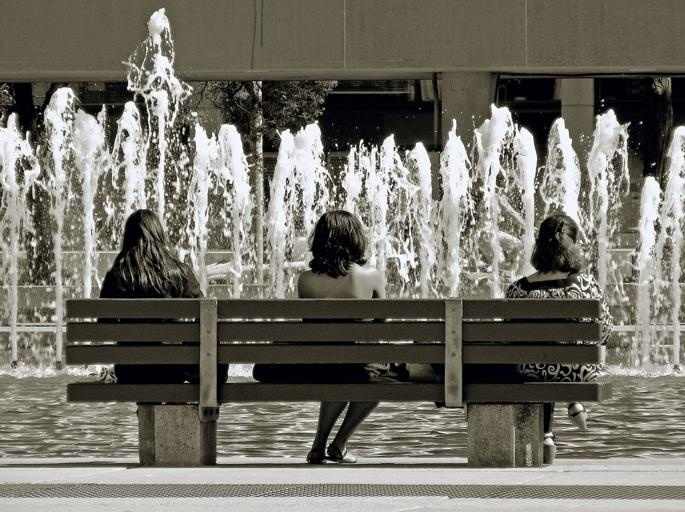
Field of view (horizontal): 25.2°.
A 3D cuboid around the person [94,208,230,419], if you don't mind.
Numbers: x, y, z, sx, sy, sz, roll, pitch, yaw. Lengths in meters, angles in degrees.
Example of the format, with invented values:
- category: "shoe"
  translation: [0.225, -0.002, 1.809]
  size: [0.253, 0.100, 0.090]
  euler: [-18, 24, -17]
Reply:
- category: "person"
  translation: [-1.550, 0.086, 13.208]
  size: [0.865, 1.191, 0.802]
  euler: [-4, 32, -4]

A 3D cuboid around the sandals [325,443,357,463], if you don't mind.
- category: "sandals"
  translation: [-0.010, 1.659, 12.873]
  size: [0.249, 0.102, 0.133]
  euler: [2, 4, -24]

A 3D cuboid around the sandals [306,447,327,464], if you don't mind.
- category: "sandals"
  translation: [-0.226, 1.685, 12.833]
  size: [0.140, 0.120, 0.108]
  euler: [-2, -2, 0]
